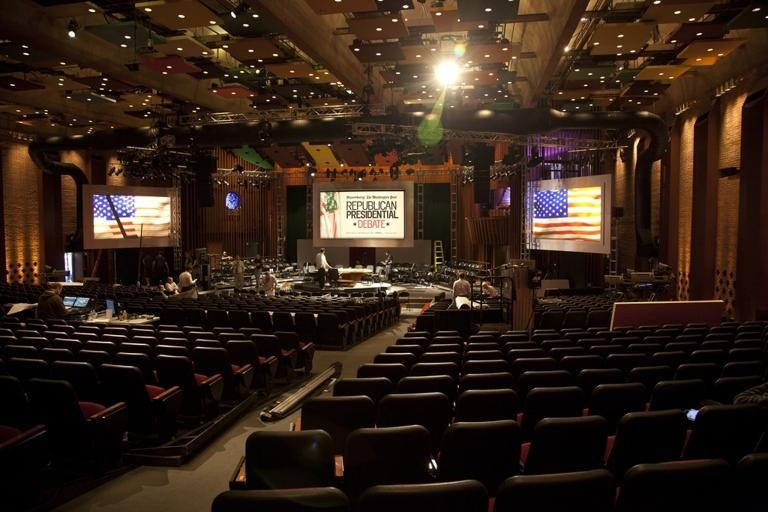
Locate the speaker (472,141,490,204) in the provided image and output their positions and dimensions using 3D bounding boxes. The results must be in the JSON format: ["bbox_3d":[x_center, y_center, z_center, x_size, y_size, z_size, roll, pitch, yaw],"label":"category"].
[{"bbox_3d":[3.495,-2.862,19.423,0.686,2.145,0.504,-1,-4,21],"label":"speaker"}]

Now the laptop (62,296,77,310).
[{"bbox_3d":[-7.155,1.058,12.535,0.349,0.219,0.266,1,3,-16],"label":"laptop"}]

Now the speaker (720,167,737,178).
[{"bbox_3d":[9.586,-2.339,15.372,0.238,0.349,0.686,0,14,4],"label":"speaker"}]
